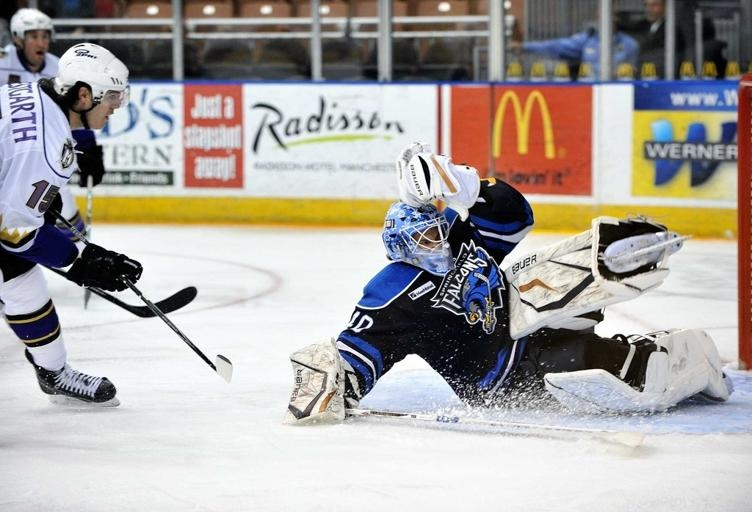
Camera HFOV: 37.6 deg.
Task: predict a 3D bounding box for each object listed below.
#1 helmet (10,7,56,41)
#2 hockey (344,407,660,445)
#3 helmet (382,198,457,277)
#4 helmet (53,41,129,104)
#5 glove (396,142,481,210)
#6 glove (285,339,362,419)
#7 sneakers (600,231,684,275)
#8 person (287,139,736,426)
[{"bbox_3d":[-2.376,-1.652,7.668,0.294,0.270,0.245,19,24,37],"label":"helmet"},{"bbox_3d":[0.476,0.672,4.457,1.186,0.079,0.176,2,14,15],"label":"hockey"},{"bbox_3d":[0.175,-0.091,4.432,0.308,0.279,0.250,9,20,33],"label":"helmet"},{"bbox_3d":[-1.226,-0.773,4.761,0.302,0.243,0.233,2,33,-16],"label":"helmet"},{"bbox_3d":[0.237,-0.313,4.452,0.327,0.234,0.146,19,-14,-11],"label":"glove"},{"bbox_3d":[-0.222,0.521,4.451,0.218,0.362,0.145,3,2,5],"label":"glove"},{"bbox_3d":[1.043,-0.019,4.418,0.355,0.146,0.146,-13,34,-13],"label":"sneakers"},{"bbox_3d":[0.635,0.119,4.580,1.493,0.811,1.166,3,28,12],"label":"person"}]
